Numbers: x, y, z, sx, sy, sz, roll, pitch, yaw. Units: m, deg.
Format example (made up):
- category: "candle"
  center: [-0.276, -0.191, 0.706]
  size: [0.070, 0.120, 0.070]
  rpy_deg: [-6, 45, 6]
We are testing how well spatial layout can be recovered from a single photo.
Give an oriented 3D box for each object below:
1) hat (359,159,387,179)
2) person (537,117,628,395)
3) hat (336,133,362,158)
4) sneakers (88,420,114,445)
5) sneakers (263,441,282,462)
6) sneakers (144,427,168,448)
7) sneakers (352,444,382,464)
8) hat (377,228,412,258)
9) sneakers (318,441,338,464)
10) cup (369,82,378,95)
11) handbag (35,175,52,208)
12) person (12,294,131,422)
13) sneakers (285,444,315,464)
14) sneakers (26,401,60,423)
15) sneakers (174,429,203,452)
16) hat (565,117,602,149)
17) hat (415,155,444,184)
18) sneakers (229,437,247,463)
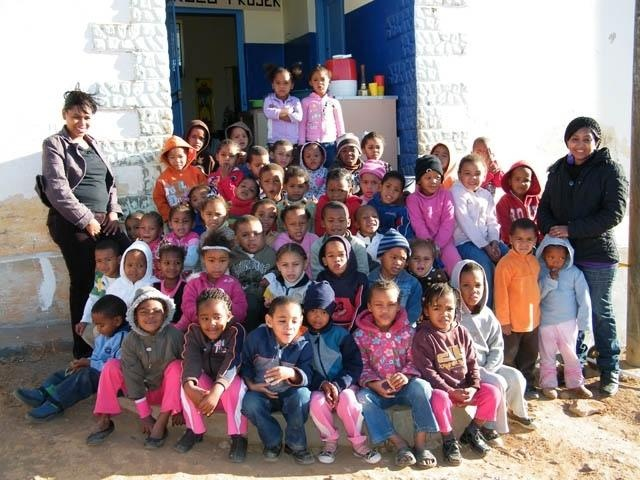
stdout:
- category: "hat"
  center: [0.543, -0.710, 5.998]
  size: [0.176, 0.135, 0.248]
  rpy_deg: [2, -2, 2]
- category: "person"
  center: [2.307, 0.117, 5.293]
  size: [0.726, 2.371, 0.467]
  rpy_deg: [4, 10, 28]
- category: "hat"
  center: [0.291, -0.999, 6.289]
  size: [0.183, 0.224, 0.247]
  rpy_deg: [0, -1, 5]
- category: "sneakers"
  center: [-1.670, 1.462, 4.581]
  size: [0.087, 0.087, 0.236]
  rpy_deg: [4, 11, 17]
- category: "sneakers"
  center: [-0.348, 1.545, 4.376]
  size: [0.127, 0.107, 0.079]
  rpy_deg: [-3, 9, -13]
- category: "sneakers"
  center: [-1.228, 1.495, 4.523]
  size: [0.194, 0.099, 0.124]
  rpy_deg: [-6, 10, -31]
- category: "sneakers"
  center: [0.341, 1.538, 4.364]
  size: [0.189, 0.080, 0.094]
  rpy_deg: [7, 25, 34]
- category: "hat"
  center: [0.605, 0.054, 5.079]
  size: [0.209, 0.244, 0.234]
  rpy_deg: [10, 17, -19]
- category: "sneakers"
  center: [0.052, 1.547, 4.372]
  size: [0.142, 0.115, 0.130]
  rpy_deg: [-1, 9, 1]
- category: "cup"
  center: [0.669, -1.900, 7.523]
  size: [0.104, 0.150, 0.080]
  rpy_deg: [0, 9, 8]
- category: "handbag"
  center: [-2.471, -0.438, 5.353]
  size: [0.107, 0.293, 0.275]
  rpy_deg: [-5, 9, -24]
- category: "person"
  center: [-1.999, 0.932, 4.919]
  size: [0.861, 0.938, 0.484]
  rpy_deg: [0, 9, 2]
- category: "sneakers"
  center: [-0.148, 1.545, 4.394]
  size: [0.214, 0.096, 0.092]
  rpy_deg: [12, 13, 41]
- category: "sneakers"
  center: [-2.218, 1.363, 4.798]
  size: [0.222, 0.099, 0.120]
  rpy_deg: [-10, 49, -43]
- category: "sneakers"
  center: [-0.982, 1.494, 4.484]
  size: [0.087, 0.165, 0.221]
  rpy_deg: [4, 0, 30]
- category: "hat"
  center: [2.310, -0.962, 5.275]
  size: [0.258, 0.257, 0.328]
  rpy_deg: [4, 10, 30]
- category: "hat"
  center: [1.024, -0.671, 5.612]
  size: [0.239, 0.243, 0.223]
  rpy_deg: [4, 7, 29]
- category: "sneakers"
  center: [-0.600, 1.507, 4.402]
  size: [0.129, 0.173, 0.193]
  rpy_deg: [-2, 9, -6]
